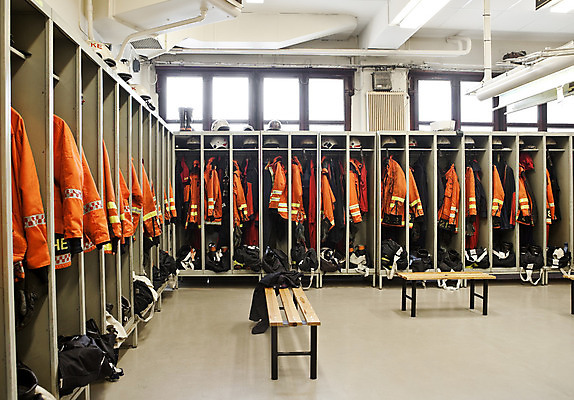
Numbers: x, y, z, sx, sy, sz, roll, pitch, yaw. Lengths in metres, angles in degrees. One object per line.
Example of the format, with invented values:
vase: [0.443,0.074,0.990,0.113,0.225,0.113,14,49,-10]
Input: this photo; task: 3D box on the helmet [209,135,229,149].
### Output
helmet: [-1.023,-0.836,8.285,0.239,0.191,0.186,-19,25,-20]

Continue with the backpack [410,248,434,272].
backpack: [1.998,0.925,8.208,0.355,0.361,0.264,4,-19,-3]

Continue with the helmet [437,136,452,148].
helmet: [2.408,-0.871,8.352,0.197,0.109,0.202,1,5,39]

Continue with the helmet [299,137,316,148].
helmet: [0.331,-0.857,8.285,0.181,0.121,0.186,4,5,36]

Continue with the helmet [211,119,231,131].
helmet: [-1.003,-1.132,8.500,0.290,0.253,0.208,5,5,38]

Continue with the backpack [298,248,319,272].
backpack: [0.337,0.916,8.050,0.278,0.289,0.272,4,-2,-21]

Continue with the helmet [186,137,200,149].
helmet: [-1.392,-0.848,8.201,0.155,0.186,0.200,3,4,8]

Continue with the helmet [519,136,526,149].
helmet: [3.679,-0.875,8.500,0.118,0.148,0.161,-6,31,7]

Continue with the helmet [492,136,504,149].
helmet: [3.243,-0.860,8.340,0.183,0.204,0.176,-2,3,-38]

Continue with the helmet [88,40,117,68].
helmet: [-1.971,-1.549,5.872,0.268,0.280,0.475,-6,16,-22]

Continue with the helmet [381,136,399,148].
helmet: [1.551,-0.854,8.272,0.192,0.128,0.192,-3,2,-37]

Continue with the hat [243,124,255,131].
hat: [-0.600,-1.143,8.748,0.165,0.102,0.164,-6,20,-2]

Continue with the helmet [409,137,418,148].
helmet: [1.940,-0.863,8.375,0.116,0.093,0.164,-1,-1,-2]

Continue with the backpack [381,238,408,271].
backpack: [1.566,0.830,8.058,0.409,0.414,0.318,-1,4,-10]

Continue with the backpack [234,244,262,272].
backpack: [-0.562,0.855,8.064,0.373,0.392,0.146,9,-29,-7]

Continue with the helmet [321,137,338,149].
helmet: [0.663,-0.853,8.325,0.157,0.179,0.207,0,9,-36]

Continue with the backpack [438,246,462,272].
backpack: [2.462,0.917,8.190,0.346,0.164,0.447,1,0,12]

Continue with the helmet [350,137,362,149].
helmet: [1.056,-0.857,8.333,0.149,0.126,0.209,-2,-1,-9]

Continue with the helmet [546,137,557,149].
helmet: [4.144,-0.875,8.518,0.169,0.136,0.195,5,3,15]

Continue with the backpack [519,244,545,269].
backpack: [3.709,0.879,8.248,0.328,0.346,0.144,2,-7,10]

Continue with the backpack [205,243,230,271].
backpack: [-1.025,0.871,8.146,0.341,0.358,0.146,2,-17,-9]

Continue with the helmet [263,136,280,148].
helmet: [-0.216,-0.855,8.273,0.175,0.140,0.199,3,5,19]

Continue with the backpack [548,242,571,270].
backpack: [4.115,0.871,8.226,0.344,0.156,0.354,-16,-30,38]

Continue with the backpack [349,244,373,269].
backpack: [1.143,0.858,8.286,0.170,0.231,0.525,-1,1,26]

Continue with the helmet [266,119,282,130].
helmet: [-0.181,-1.148,8.411,0.164,0.121,0.229,1,9,0]

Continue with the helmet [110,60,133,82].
helmet: [-1.842,-1.420,6.102,0.175,0.238,0.402,-3,16,-10]
